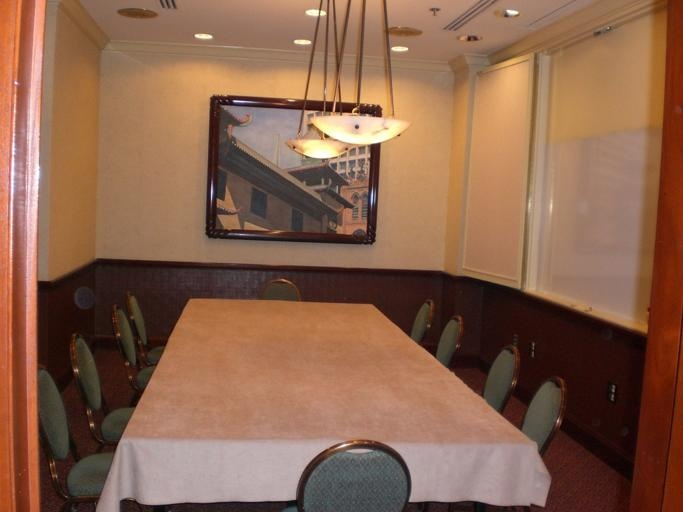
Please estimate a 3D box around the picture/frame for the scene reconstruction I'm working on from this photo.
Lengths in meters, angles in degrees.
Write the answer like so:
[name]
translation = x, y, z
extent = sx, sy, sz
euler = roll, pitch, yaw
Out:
[picture/frame]
translation = -0.600, -0.949, 5.793
extent = 1.509, 1.326, 0.078
euler = 3, 10, -6
